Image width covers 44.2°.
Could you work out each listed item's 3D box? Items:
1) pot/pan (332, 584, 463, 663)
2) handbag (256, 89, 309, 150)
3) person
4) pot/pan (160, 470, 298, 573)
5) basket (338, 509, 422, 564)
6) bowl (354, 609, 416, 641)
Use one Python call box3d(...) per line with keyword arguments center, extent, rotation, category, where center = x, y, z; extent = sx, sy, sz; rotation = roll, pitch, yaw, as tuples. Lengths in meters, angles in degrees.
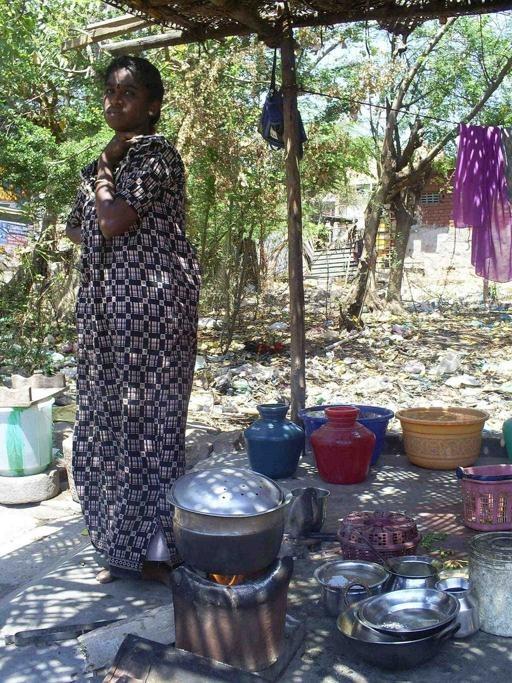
box3d(center=(0.425, 0.847, 1.931), extent=(0.302, 0.092, 0.235), rotation=(-4, 17, 26), category="pot/pan")
box3d(center=(0.202, -1.764, 4.992), extent=(0.374, 0.611, 0.613), rotation=(-1, 4, 0), category="handbag")
box3d(center=(-0.487, -0.081, 2.440), extent=(0.503, 2.069, 0.420), rotation=(-1, 5, 7), category="person")
box3d(center=(-0.084, 0.511, 1.907), extent=(0.369, 0.195, 0.326), rotation=(8, 14, 13), category="pot/pan")
box3d(center=(0.507, 0.822, 2.636), extent=(0.360, 0.134, 0.306), rotation=(1, 6, -1), category="basket")
box3d(center=(0.380, 0.859, 1.901), extent=(0.156, 0.071, 0.191), rotation=(-1, 3, 4), category="bowl")
